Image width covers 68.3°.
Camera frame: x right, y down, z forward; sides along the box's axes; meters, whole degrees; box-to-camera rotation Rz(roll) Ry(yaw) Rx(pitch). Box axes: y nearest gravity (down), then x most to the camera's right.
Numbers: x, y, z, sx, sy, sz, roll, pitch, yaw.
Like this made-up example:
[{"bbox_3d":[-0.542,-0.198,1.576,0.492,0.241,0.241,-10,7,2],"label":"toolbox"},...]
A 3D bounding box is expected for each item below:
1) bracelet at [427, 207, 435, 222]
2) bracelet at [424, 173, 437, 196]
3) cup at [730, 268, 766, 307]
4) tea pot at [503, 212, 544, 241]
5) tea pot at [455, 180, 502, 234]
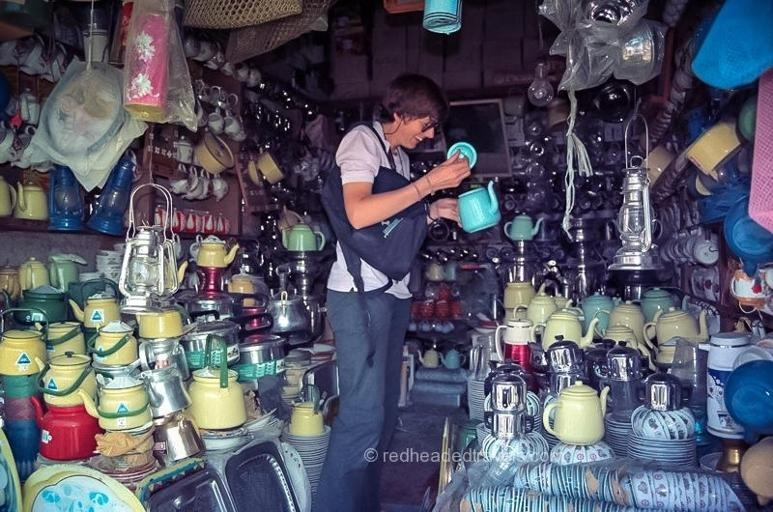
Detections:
[{"bbox_3d":[0.191,-0.181,2.537,0.024,0.063,0.045,-1,14,-19],"label":"bracelet"},{"bbox_3d":[0.181,-0.291,2.344,0.034,0.072,0.098,0,-3,8],"label":"bracelet"},{"bbox_3d":[1.295,0.128,2.114,0.104,0.121,0.160,1,-3,-27],"label":"cup"},{"bbox_3d":[0.981,-0.218,4.088,0.336,0.230,0.213,4,4,27],"label":"tea pot"},{"bbox_3d":[0.410,-0.195,2.474,0.188,0.167,0.231,-13,-5,-33],"label":"tea pot"}]
